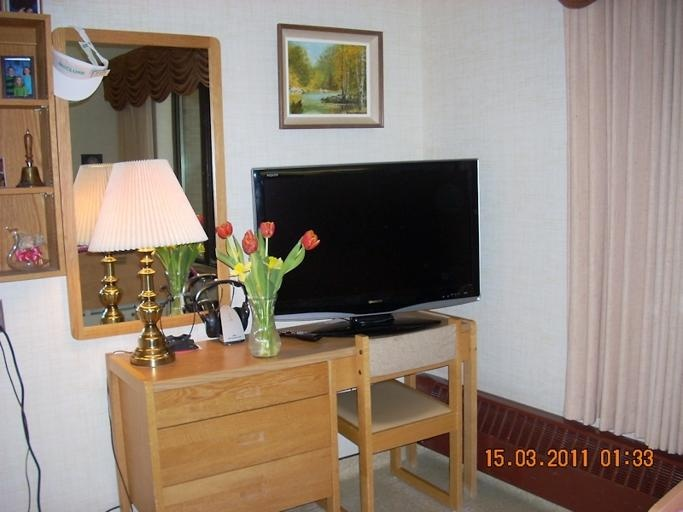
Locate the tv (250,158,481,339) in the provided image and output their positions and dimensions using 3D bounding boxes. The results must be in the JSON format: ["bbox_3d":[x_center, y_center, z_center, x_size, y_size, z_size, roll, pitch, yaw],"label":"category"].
[{"bbox_3d":[0.095,-0.044,2.706,0.814,0.612,0.226,-6,12,-15],"label":"tv"}]

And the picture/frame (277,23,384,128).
[{"bbox_3d":[-0.085,-0.996,2.959,0.584,0.514,0.048,-4,8,-27],"label":"picture/frame"}]

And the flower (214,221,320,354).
[{"bbox_3d":[-0.359,0.123,2.484,0.400,0.594,0.459,-6,11,-19],"label":"flower"}]

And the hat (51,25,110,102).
[{"bbox_3d":[-1.155,-0.847,2.353,0.236,0.311,0.138,-4,-19,-32],"label":"hat"}]

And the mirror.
[{"bbox_3d":[-0.900,-0.442,2.305,0.678,1.268,0.031,0,-22,-8],"label":"mirror"}]
